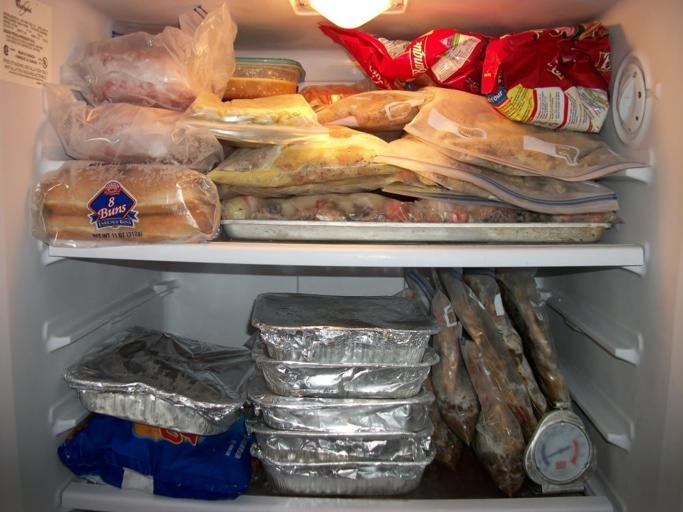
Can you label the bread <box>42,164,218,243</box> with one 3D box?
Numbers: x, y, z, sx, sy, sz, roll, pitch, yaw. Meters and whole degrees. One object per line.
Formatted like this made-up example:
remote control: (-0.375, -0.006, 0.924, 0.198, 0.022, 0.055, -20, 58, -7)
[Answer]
bread: (-0.481, -0.121, 1.207, 0.323, 0.141, 0.177, 0, 9, 0)
